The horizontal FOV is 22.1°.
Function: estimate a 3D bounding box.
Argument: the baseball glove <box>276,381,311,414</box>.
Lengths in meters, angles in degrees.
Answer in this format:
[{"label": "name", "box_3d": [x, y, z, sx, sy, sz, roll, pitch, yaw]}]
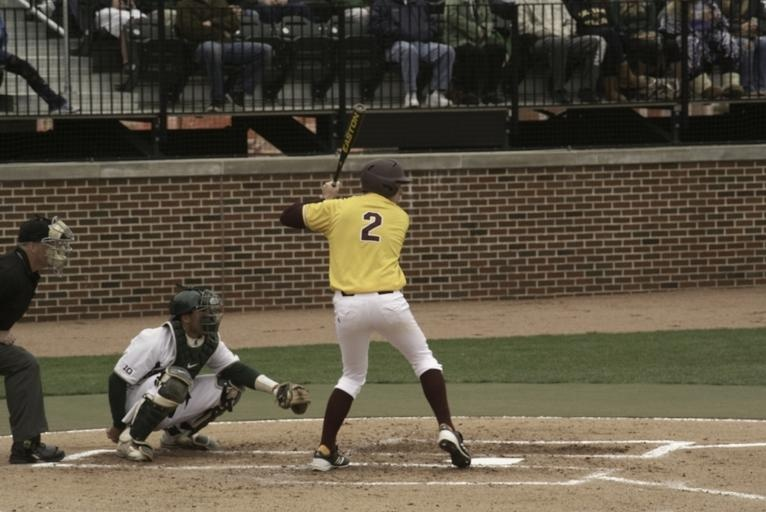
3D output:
[{"label": "baseball glove", "box_3d": [-1.059, 1.769, 24.172, 0.609, 0.315, 0.450, 3, 1, -17]}]

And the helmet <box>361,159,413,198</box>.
[{"label": "helmet", "box_3d": [0.048, -0.939, 23.992, 0.619, 0.472, 0.469, 1, 2, 3]}]

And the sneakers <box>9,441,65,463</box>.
[{"label": "sneakers", "box_3d": [-4.166, 2.421, 23.801, 0.587, 0.275, 0.274, 0, 2, -13]}]

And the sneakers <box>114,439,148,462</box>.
[{"label": "sneakers", "box_3d": [-3.017, 2.434, 23.841, 0.345, 0.242, 0.212, 23, -2, 11]}]

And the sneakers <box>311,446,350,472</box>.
[{"label": "sneakers", "box_3d": [-0.656, 2.492, 23.609, 0.542, 0.275, 0.212, 2, 3, -28]}]
